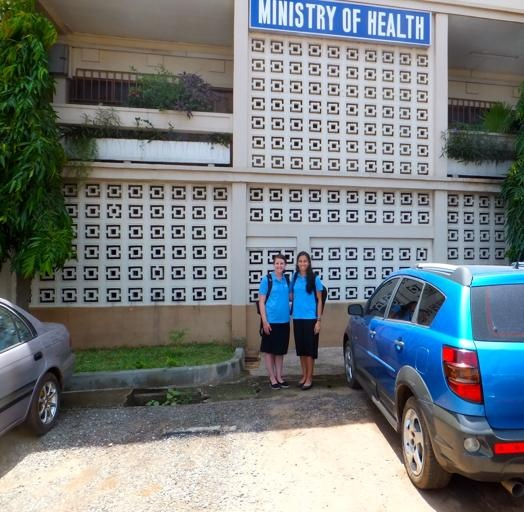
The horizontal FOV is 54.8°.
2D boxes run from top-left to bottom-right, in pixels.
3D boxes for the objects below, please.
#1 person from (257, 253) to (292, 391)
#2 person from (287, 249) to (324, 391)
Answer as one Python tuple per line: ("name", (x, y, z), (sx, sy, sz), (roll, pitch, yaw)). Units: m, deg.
("person", (0.158, 0.890, 6.692), (0.365, 1.813, 0.518), (2, 5, 27))
("person", (0.582, 0.860, 6.694), (0.444, 1.825, 0.332), (0, 4, 5))
